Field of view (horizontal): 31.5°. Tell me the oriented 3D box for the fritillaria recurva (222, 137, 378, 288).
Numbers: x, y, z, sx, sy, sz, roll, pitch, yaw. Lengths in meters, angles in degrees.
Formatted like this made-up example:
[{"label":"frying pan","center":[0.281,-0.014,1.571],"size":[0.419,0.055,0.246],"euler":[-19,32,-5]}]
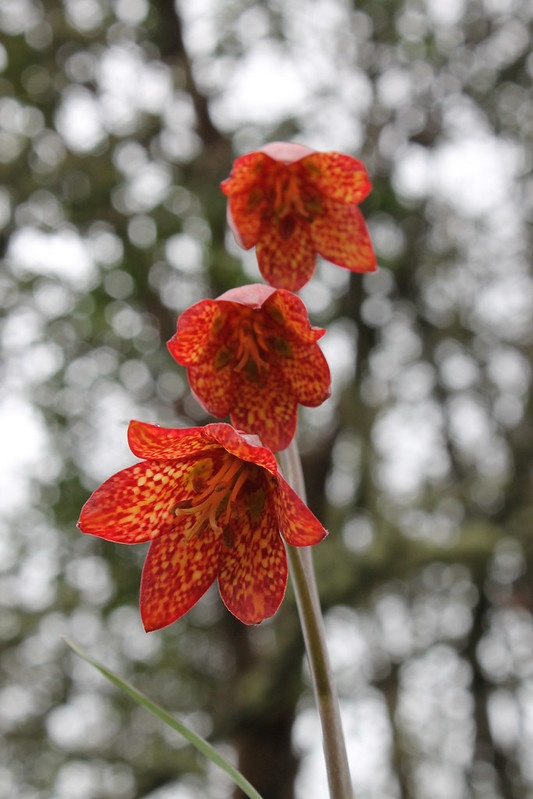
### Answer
[{"label":"fritillaria recurva","center":[0.070,-0.310,1.574],"size":[0.287,0.173,0.212],"euler":[30,100,-2]}]
